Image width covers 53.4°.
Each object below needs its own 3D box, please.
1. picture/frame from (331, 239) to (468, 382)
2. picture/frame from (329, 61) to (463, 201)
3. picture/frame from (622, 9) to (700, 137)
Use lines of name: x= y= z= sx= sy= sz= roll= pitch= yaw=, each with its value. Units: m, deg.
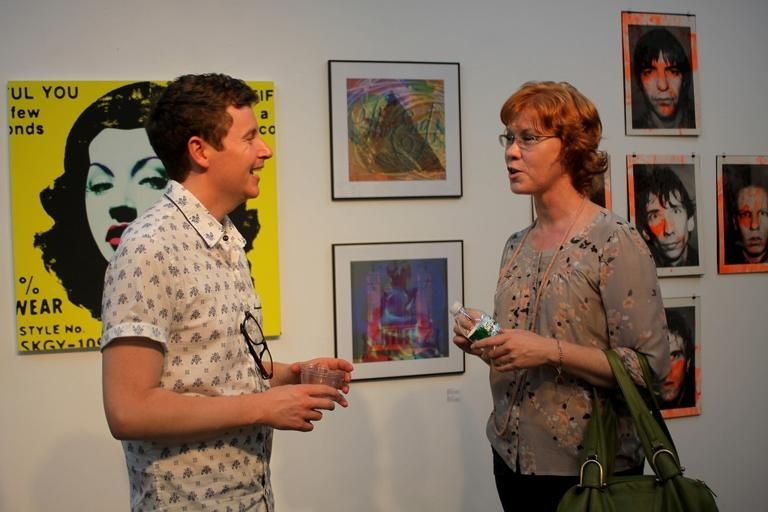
picture/frame: x=0.047 y=0.290 z=4.170 sx=0.670 sy=0.791 sz=0.026 roll=-1 pitch=0 yaw=-14
picture/frame: x=0.078 y=-0.704 z=4.230 sx=0.713 sy=0.828 sz=0.028 roll=0 pitch=34 yaw=1
picture/frame: x=1.589 y=-1.077 z=4.441 sx=0.624 sy=1.058 sz=0.017 roll=-1 pitch=2 yaw=-6
